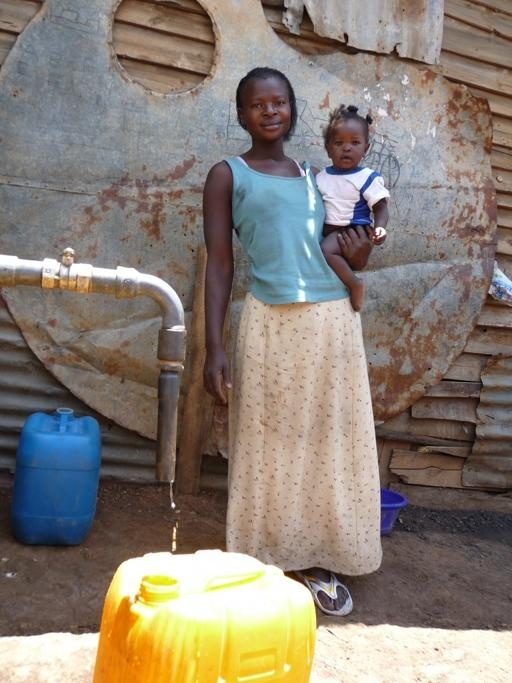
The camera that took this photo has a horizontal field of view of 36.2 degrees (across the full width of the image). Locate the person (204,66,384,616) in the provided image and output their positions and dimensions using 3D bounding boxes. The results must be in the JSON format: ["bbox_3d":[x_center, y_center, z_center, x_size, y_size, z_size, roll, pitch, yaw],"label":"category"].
[{"bbox_3d":[0.164,0.016,3.010,0.832,2.069,0.339,8,11,10],"label":"person"}]

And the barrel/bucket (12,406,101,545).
[{"bbox_3d":[-0.840,0.576,3.317,0.391,0.524,0.341,8,9,1],"label":"barrel/bucket"}]

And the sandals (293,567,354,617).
[{"bbox_3d":[0.267,0.983,3.129,0.123,0.076,0.255,-13,48,-33],"label":"sandals"}]
